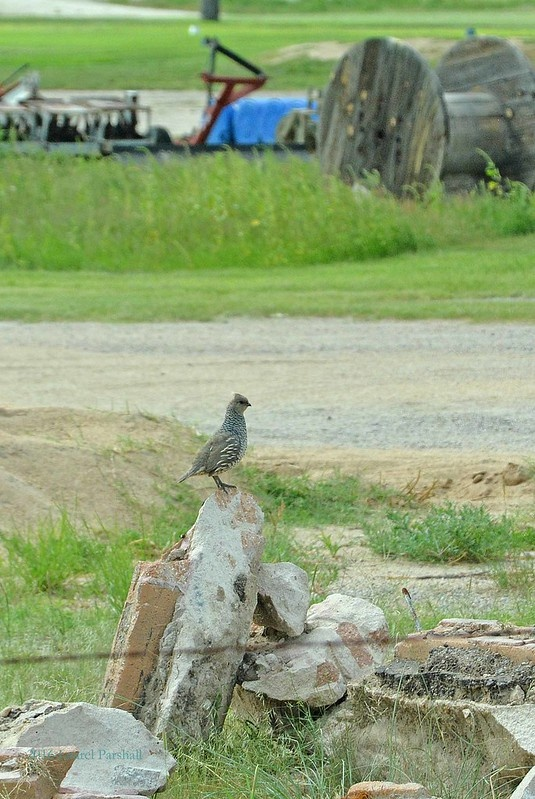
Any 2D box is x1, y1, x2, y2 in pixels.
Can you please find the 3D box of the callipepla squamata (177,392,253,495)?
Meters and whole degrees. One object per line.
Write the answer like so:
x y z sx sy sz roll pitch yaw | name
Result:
-0.128 0.135 5.542 0.311 0.397 0.181 2 -8 -18 | callipepla squamata
